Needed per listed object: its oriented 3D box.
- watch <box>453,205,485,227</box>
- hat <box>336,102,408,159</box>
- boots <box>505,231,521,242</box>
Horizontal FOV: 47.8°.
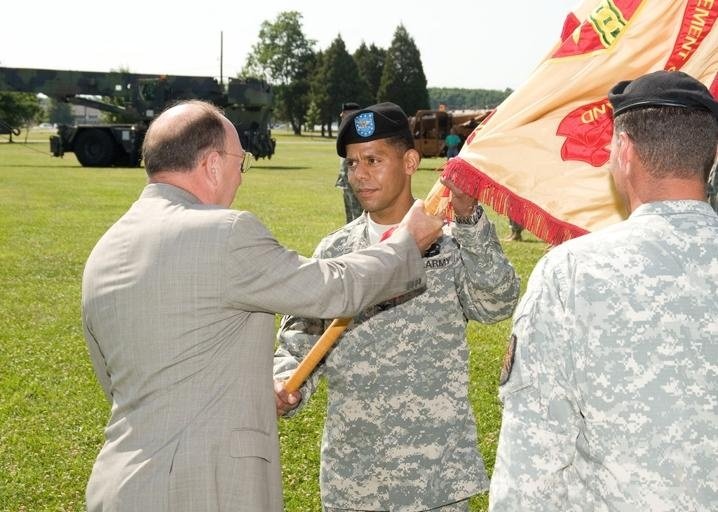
[{"bbox_3d":[0.509,-0.167,3.708,0.084,0.101,0.050,-16,50,-9],"label":"watch"},{"bbox_3d":[0.074,-0.672,4.050,0.287,0.215,0.409,-6,11,44],"label":"hat"},{"bbox_3d":[2.378,-0.317,12.432,0.248,0.251,0.125,3,-3,-2],"label":"boots"}]
